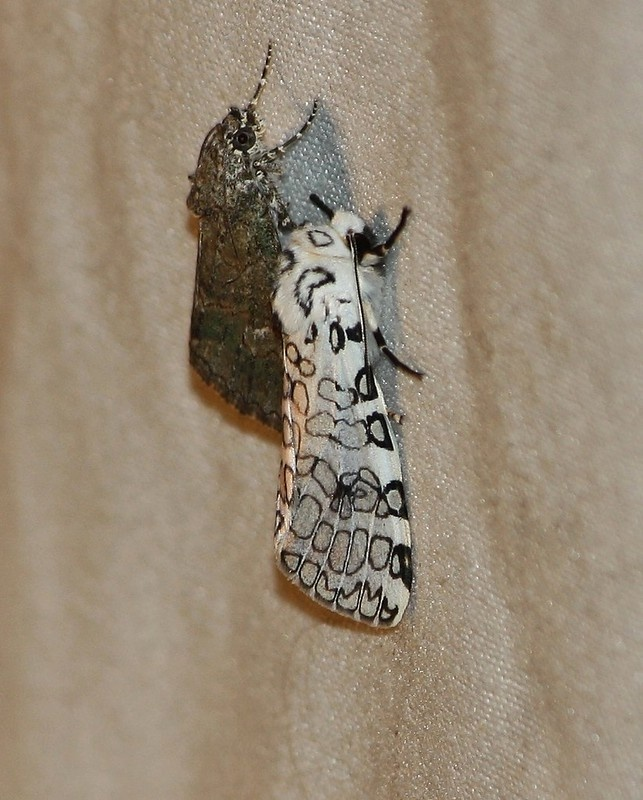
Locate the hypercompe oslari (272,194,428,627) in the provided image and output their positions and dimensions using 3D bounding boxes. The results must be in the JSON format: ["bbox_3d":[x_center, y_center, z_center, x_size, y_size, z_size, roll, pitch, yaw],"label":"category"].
[{"bbox_3d":[0.030,0.069,2.271,0.211,0.160,0.824,7,99,45],"label":"hypercompe oslari"}]

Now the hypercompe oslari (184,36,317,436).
[{"bbox_3d":[-0.128,-0.314,2.397,0.127,0.235,0.678,-7,102,-36],"label":"hypercompe oslari"}]
